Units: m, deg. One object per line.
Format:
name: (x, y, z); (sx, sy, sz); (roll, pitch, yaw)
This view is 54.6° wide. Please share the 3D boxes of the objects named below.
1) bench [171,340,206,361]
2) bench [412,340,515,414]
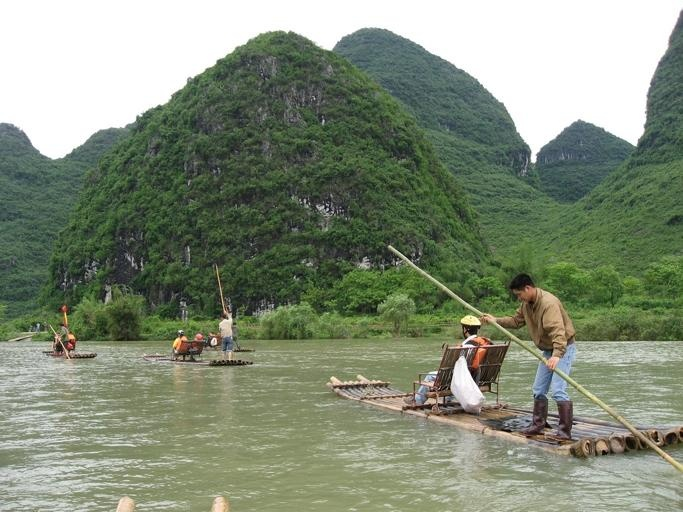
bench: (-7.963, 4.866, 34.533); (1.165, 0.988, 1.963); (3, -8, -16)
bench: (2.967, 2.909, 16.579); (2.308, 1.753, 1.398); (3, -3, -38)
